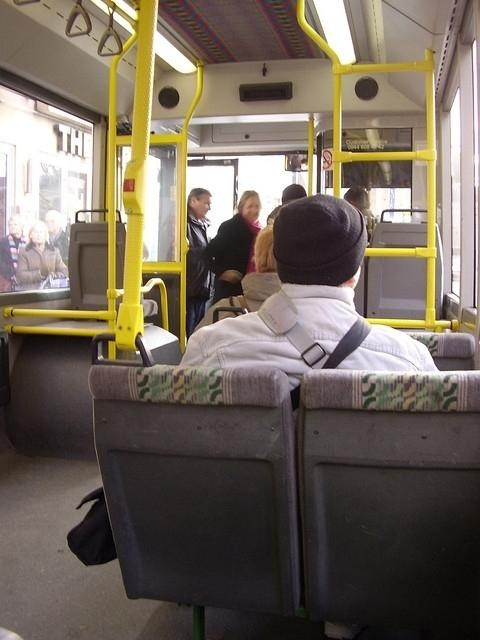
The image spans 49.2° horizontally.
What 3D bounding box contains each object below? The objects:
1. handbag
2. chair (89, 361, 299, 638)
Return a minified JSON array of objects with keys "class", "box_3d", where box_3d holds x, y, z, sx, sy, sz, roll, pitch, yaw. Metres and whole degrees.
[{"class":"handbag","box_3d":[-0.482,0.647,1.661,0.128,0.183,0.090,49,18,31]},{"class":"chair","box_3d":[-0.098,0.354,1.398,0.406,0.724,0.592,0,8,7]}]
